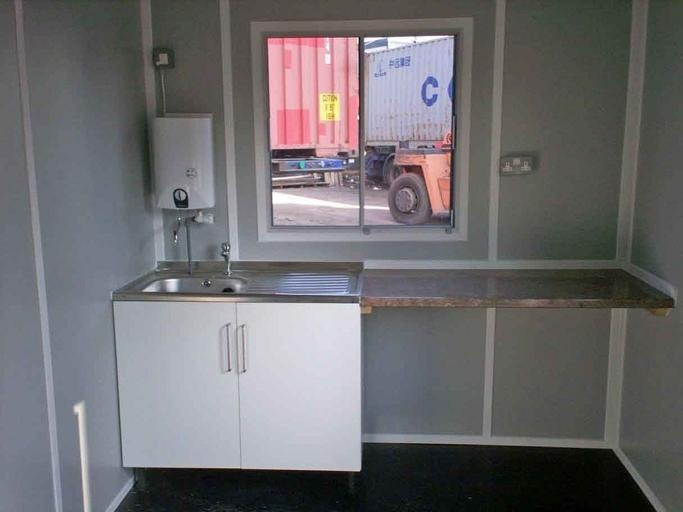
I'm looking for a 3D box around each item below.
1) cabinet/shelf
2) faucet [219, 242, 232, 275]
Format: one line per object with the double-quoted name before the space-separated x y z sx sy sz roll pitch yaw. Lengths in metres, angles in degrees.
"cabinet/shelf" -0.595 0.731 3.688 1.426 1.053 0.519 0 6 0
"faucet" -0.748 0.011 3.828 0.072 0.209 0.216 -4 11 -12
